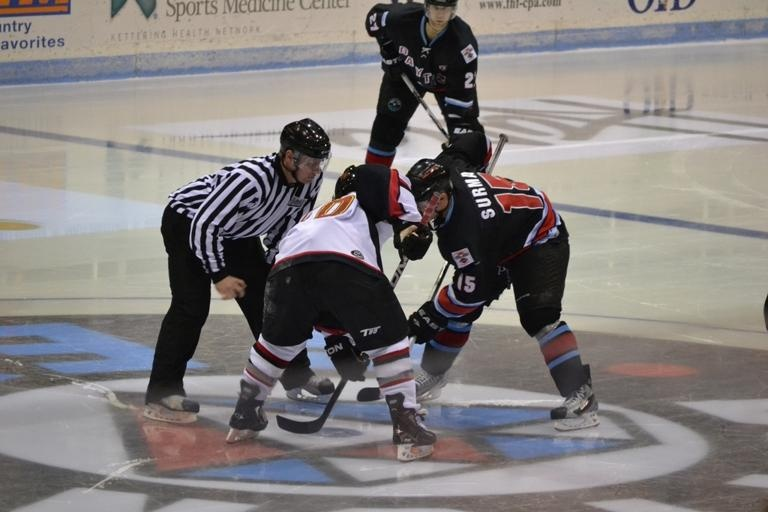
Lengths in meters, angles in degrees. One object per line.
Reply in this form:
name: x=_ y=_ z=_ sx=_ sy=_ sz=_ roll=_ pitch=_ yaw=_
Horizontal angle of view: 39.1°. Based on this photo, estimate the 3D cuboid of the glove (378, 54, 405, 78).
glove: x=0.057 y=-1.496 z=8.457 sx=0.299 sy=0.186 sz=0.156 roll=-2 pitch=-36 yaw=-4

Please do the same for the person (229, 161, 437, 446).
person: x=-0.287 y=0.310 z=6.938 sx=1.336 sy=1.798 sz=0.421 roll=2 pitch=9 yaw=1
